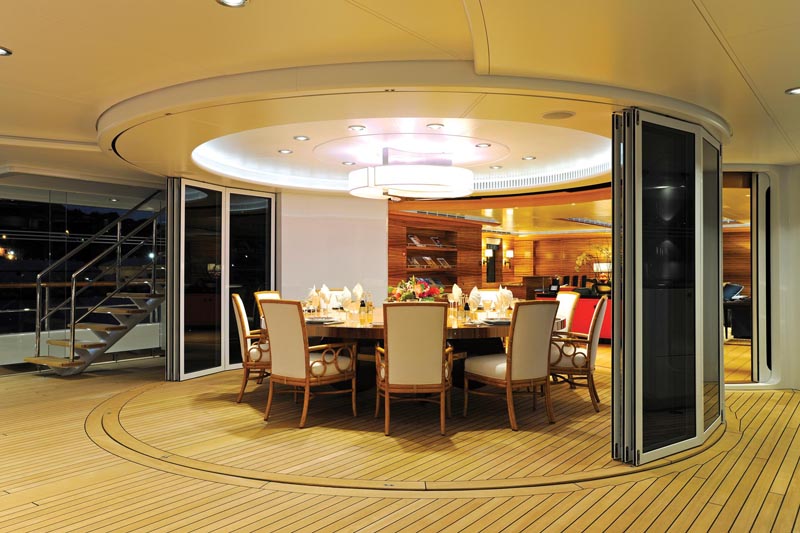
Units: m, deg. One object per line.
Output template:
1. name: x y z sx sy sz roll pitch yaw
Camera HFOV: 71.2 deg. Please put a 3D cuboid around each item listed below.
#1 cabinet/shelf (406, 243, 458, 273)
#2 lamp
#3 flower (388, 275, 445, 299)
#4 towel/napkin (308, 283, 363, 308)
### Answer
1. cabinet/shelf: 0.724 -0.143 12.214 0.461 0.696 1.454 6 11 34
2. lamp: 0.105 -1.071 6.894 0.959 0.306 0.889 0 0 15
3. flower: 0.159 0.288 6.664 0.560 0.264 0.511 1 -3 -23
4. towel/napkin: -0.895 0.399 6.946 0.735 0.238 0.515 -2 -3 13
